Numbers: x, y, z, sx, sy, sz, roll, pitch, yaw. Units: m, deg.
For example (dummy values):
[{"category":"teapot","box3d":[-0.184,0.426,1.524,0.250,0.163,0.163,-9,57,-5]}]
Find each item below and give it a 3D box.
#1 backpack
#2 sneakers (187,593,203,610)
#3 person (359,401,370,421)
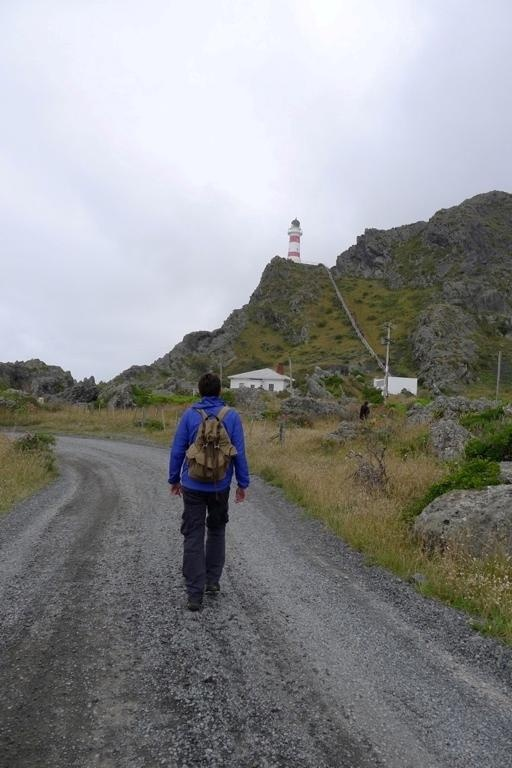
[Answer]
[{"category":"backpack","box3d":[-0.415,0.533,4.571,0.370,0.656,0.342,4,5,-14]},{"category":"sneakers","box3d":[-0.535,1.898,4.417,0.076,0.141,0.135,4,-5,-1]},{"category":"person","box3d":[4.353,1.109,20.579,0.292,0.755,0.789,2,0,7]}]
